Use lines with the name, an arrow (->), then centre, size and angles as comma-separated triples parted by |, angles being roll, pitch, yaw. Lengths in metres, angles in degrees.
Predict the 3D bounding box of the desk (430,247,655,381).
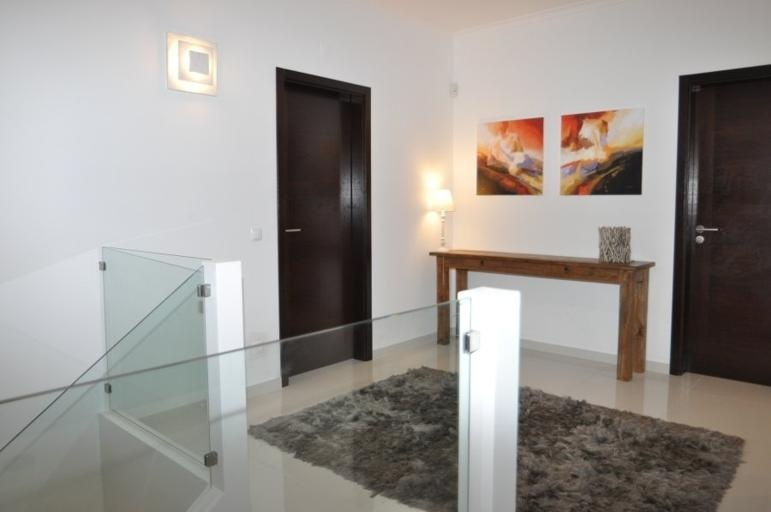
desk -> 1.384, 0.480, 5.045 | 2.024, 1.039, 0.493 | 5, 11, 40

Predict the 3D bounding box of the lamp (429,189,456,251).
lamp -> 0.624, -0.382, 5.473 | 0.210, 0.623, 0.387 | 7, 13, 36
